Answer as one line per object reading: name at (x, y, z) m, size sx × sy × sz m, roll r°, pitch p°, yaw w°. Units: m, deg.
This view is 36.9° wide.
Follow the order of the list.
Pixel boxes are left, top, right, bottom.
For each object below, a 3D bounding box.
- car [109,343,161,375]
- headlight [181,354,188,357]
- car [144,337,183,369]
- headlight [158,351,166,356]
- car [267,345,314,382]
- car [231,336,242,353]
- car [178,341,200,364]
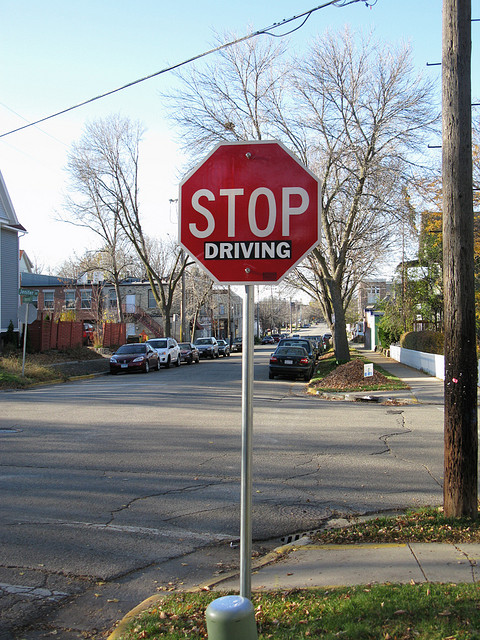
car at (-4.330, 1.567, 29.579) m, size 1.385 × 1.248 × 2.656 m, roll -2°, pitch -3°, yaw 11°
headlight at (-2.900, 1.894, 38.110) m, size 0.331 × 0.142 × 0.101 m, roll -2°, pitch -2°, yaw -4°
car at (-3.553, 1.407, 34.085) m, size 0.921 × 0.916 × 2.030 m, roll -1°, pitch -5°, yaw 7°
headlight at (-3.518, 1.534, 32.896) m, size 0.200 × 0.199 × 0.590 m, roll -3°, pitch -3°, yaw 23°
car at (1.937, 1.669, 26.916) m, size 1.058 × 0.909 × 2.632 m, roll 1°, pitch 1°, yaw 8°
car at (-0.289, 2.202, 63.692) m, size 1.392 × 1.313 × 3.516 m, roll -1°, pitch -4°, yaw -1°
car at (-2.748, 1.842, 39.408) m, size 0.822 × 0.743 × 1.916 m, roll -1°, pitch -7°, yaw 6°
